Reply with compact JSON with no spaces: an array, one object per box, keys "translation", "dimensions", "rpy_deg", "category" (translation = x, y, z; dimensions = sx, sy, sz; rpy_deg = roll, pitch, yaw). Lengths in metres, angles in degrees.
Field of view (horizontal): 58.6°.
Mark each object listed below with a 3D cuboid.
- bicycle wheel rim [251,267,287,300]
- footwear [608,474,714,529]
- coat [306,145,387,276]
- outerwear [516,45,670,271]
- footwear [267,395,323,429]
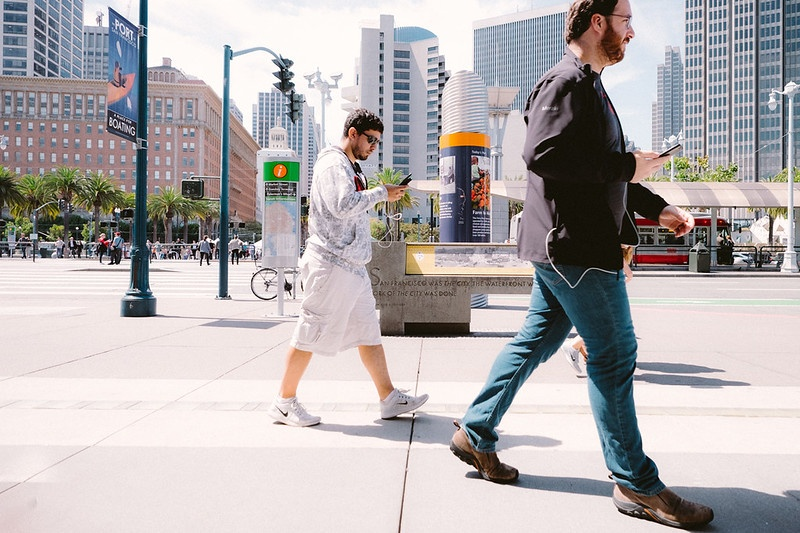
[{"translation":[-2.874,0.380,15.258],"dimensions":[1.077,0.742,0.557],"rpy_deg":[2,3,-5],"category":"bicycle wheel rim"},{"translation":[1.890,1.735,5.225],"dimensions":[0.691,0.303,0.275],"rpy_deg":[5,2,11],"category":"footwear"},{"translation":[-0.562,-0.552,6.785],"dimensions":[0.937,1.332,1.064],"rpy_deg":[-2,6,-7],"category":"coat"},{"translation":[1.664,-0.861,6.022],"dimensions":[1.328,2.044,1.587],"rpy_deg":[-2,4,3],"category":"outerwear"},{"translation":[-0.907,1.298,6.322],"dimensions":[0.492,0.258,0.194],"rpy_deg":[5,-1,-4],"category":"footwear"}]
